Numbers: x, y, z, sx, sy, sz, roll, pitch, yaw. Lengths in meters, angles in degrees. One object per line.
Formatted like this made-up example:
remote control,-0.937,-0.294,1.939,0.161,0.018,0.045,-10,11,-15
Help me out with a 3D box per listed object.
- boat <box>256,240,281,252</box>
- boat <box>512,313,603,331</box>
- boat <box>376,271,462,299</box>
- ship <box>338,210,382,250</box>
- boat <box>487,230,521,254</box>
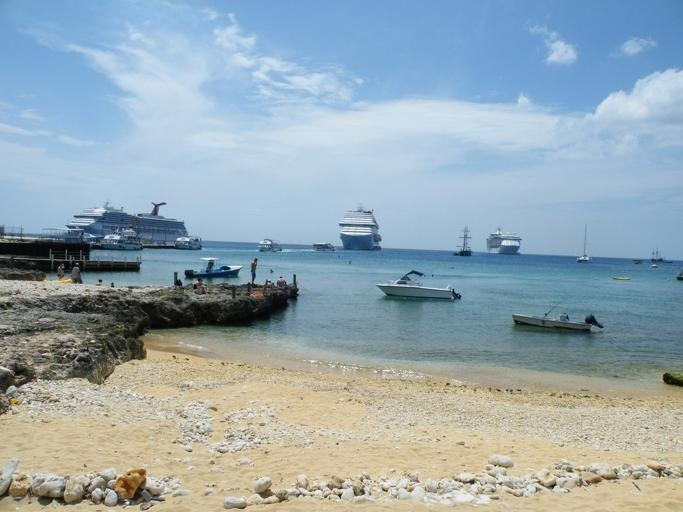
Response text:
boat,-20.443,-2.667,163.526,4.061,3.446,12.448,4,6,22
boat,13.436,4.142,35.776,4.981,0.901,1.009,3,-5,19
boat,7.185,2.808,51.313,6.038,2.800,6.274,-8,5,-42
ship,7.769,-7.445,167.613,12.972,11.311,33.733,6,2,11
boat,61.598,-4.651,215.154,8.255,8.025,16.613,8,7,-7
